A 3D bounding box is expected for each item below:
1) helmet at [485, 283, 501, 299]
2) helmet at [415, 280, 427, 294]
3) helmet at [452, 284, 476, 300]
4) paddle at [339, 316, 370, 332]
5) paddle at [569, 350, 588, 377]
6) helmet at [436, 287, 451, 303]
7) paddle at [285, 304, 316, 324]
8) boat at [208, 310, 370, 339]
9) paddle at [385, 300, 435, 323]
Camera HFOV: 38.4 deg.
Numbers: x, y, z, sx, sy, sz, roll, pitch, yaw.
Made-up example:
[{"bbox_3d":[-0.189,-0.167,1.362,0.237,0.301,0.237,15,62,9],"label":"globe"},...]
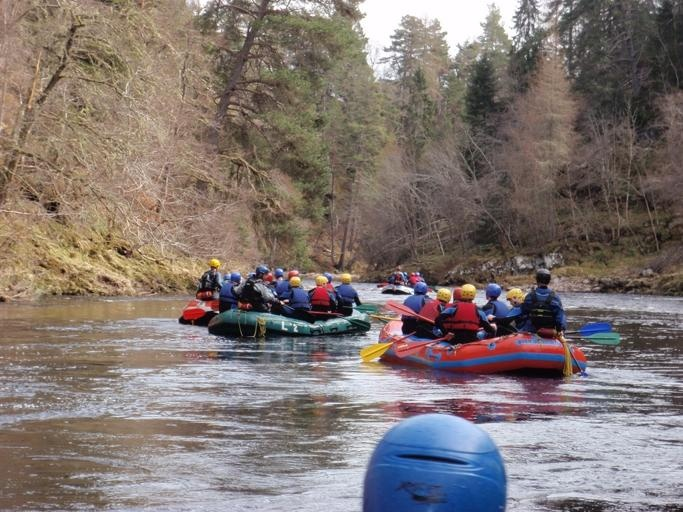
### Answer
[{"bbox_3d":[3.773,0.864,24.647,0.342,0.395,0.415,4,8,-7],"label":"helmet"},{"bbox_3d":[2.112,0.818,26.072,0.279,0.296,0.348,10,13,7],"label":"helmet"},{"bbox_3d":[2.864,0.827,22.872,0.455,0.402,0.353,27,16,40],"label":"helmet"},{"bbox_3d":[0.330,2.018,29.554,0.171,0.467,2.175,-1,-10,28],"label":"paddle"},{"bbox_3d":[5.449,2.444,22.524,0.298,0.559,0.579,-2,-8,18],"label":"paddle"},{"bbox_3d":[2.492,0.928,24.029,0.296,0.328,0.357,16,28,16],"label":"helmet"},{"bbox_3d":[-1.231,1.671,28.491,0.772,0.244,0.467,9,-2,18],"label":"paddle"},{"bbox_3d":[-1.197,1.957,28.892,5.167,0.956,2.054,3,-8,-22],"label":"boat"},{"bbox_3d":[1.651,1.485,24.982,0.439,0.171,1.570,-23,22,-27],"label":"paddle"}]
